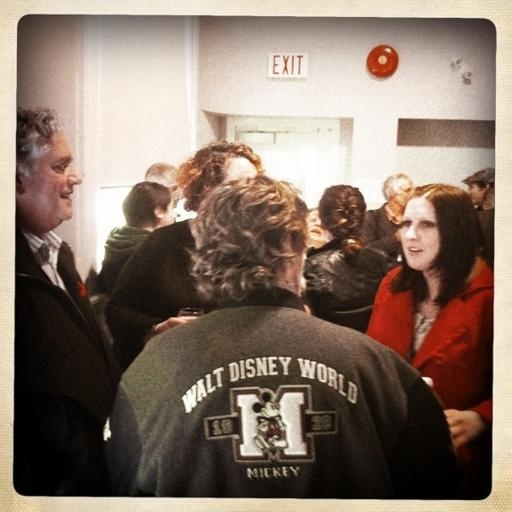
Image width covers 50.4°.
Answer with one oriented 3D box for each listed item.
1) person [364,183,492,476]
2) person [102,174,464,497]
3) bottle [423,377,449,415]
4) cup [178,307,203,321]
[{"bbox_3d":[0.756,0.411,2.306,0.605,1.379,0.415,3,17,26],"label":"person"},{"bbox_3d":[0.128,0.335,2.134,1.231,1.102,0.639,-1,4,8],"label":"person"},{"bbox_3d":[0.700,0.545,2.141,0.030,0.115,0.122,-21,-32,1],"label":"bottle"},{"bbox_3d":[-0.258,0.222,2.144,0.056,0.034,0.056,3,-1,0],"label":"cup"}]
